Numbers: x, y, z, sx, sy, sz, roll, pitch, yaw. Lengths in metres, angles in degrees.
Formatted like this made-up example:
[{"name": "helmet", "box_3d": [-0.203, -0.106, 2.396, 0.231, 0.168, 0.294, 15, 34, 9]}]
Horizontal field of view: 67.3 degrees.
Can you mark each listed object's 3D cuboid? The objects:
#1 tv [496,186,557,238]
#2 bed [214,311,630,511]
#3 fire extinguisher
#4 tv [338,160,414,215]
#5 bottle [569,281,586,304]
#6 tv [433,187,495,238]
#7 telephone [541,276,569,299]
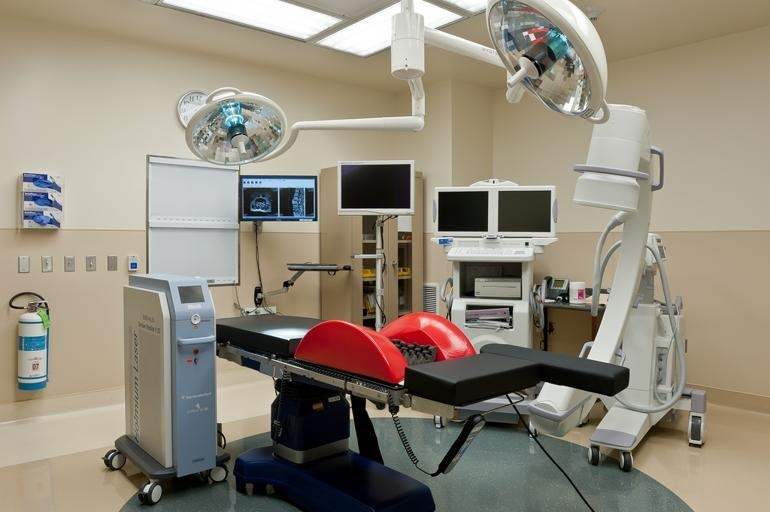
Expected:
[{"name": "tv", "box_3d": [1.434, -0.420, 6.016, 0.785, 0.647, 0.475, 0, -1, 12]}, {"name": "bed", "box_3d": [0.094, 1.045, 3.995, 2.623, 1.108, 1.307, 0, -2, 43]}, {"name": "fire extinguisher", "box_3d": [-3.302, 0.819, 5.406, 0.346, 0.946, 0.353, -7, 14, -31]}, {"name": "tv", "box_3d": [-0.080, -0.720, 6.107, 0.582, 0.408, 0.114, 0, -4, 4]}, {"name": "bottle", "box_3d": [1.961, 0.388, 5.959, 0.195, 0.216, 0.196, -1, 0, 45]}, {"name": "tv", "box_3d": [0.846, -0.382, 6.181, 0.772, 0.633, 0.461, 0, 0, 16]}, {"name": "telephone", "box_3d": [1.770, 0.337, 6.028, 0.249, 0.120, 0.250, 8, 23, 34]}]
